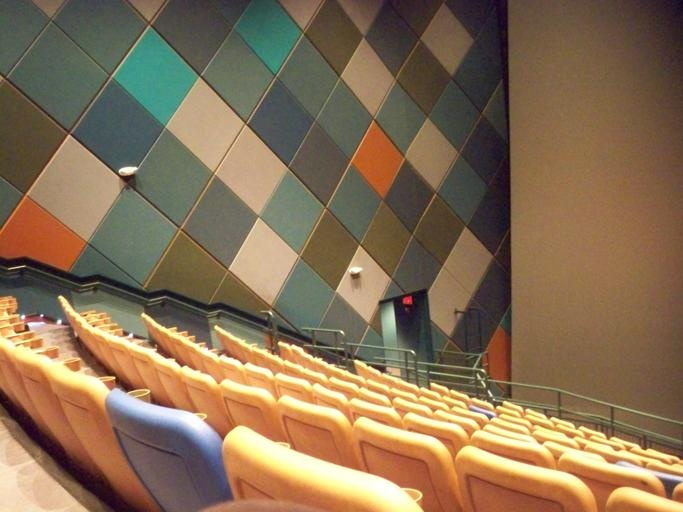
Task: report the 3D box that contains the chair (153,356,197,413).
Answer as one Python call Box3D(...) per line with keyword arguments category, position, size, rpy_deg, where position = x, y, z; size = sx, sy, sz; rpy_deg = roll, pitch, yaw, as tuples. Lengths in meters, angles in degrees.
Box3D(category="chair", position=(-1.014, 0.752, 3.695), size=(0.223, 0.397, 0.280), rpy_deg=(2, 4, 44))

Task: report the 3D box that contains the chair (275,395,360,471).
Box3D(category="chair", position=(-0.123, 0.916, 3.067), size=(0.175, 0.384, 0.231), rpy_deg=(8, 39, 23))

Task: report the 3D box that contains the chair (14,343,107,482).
Box3D(category="chair", position=(-1.535, 0.812, 3.345), size=(0.468, 0.809, 0.556), rpy_deg=(3, 7, 44))

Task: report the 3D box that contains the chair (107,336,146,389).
Box3D(category="chair", position=(-1.441, 0.724, 4.007), size=(0.235, 0.380, 0.231), rpy_deg=(-12, 13, -41))
